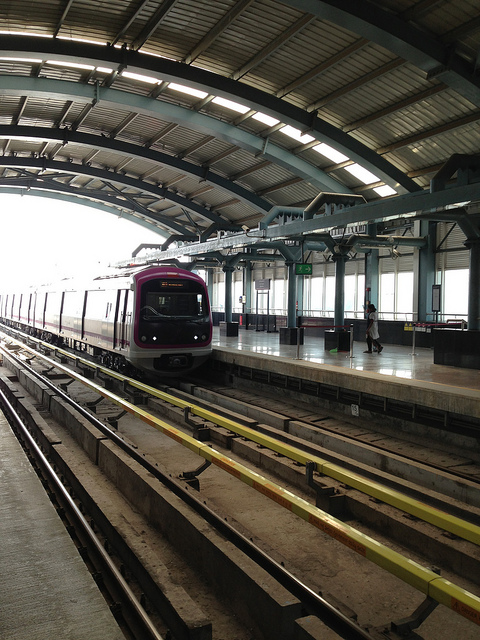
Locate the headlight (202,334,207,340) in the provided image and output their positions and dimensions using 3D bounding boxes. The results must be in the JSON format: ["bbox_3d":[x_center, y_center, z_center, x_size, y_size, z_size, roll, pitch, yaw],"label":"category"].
[{"bbox_3d":[-1.094,0.556,13.388,0.110,0.107,0.026,19,-13,-34],"label":"headlight"}]

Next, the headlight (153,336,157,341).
[{"bbox_3d":[-2.430,0.543,12.566,0.117,0.107,0.028,10,3,35],"label":"headlight"}]

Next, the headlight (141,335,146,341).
[{"bbox_3d":[-2.720,0.529,12.450,0.151,0.145,0.035,2,3,-23],"label":"headlight"}]
